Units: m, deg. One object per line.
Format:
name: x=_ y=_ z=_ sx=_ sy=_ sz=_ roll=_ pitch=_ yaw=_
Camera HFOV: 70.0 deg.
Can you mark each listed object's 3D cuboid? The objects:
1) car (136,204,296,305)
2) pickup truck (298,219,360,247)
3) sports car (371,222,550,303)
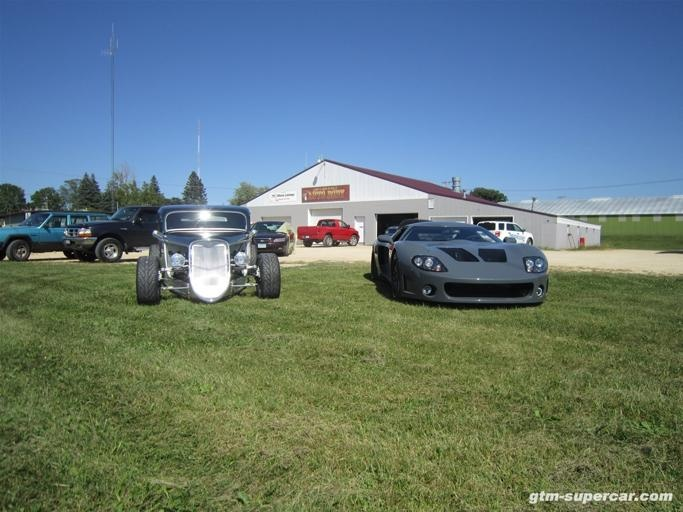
car: x=-2.237 y=-0.020 z=7.839 sx=1.354 sy=1.111 sz=2.274 roll=0 pitch=-5 yaw=-19
pickup truck: x=-0.841 y=-1.431 z=29.832 sx=1.702 sy=1.503 sz=3.522 roll=4 pitch=8 yaw=41
sports car: x=1.661 y=0.108 z=7.458 sx=1.897 sy=0.928 sz=2.615 roll=-5 pitch=14 yaw=-24
